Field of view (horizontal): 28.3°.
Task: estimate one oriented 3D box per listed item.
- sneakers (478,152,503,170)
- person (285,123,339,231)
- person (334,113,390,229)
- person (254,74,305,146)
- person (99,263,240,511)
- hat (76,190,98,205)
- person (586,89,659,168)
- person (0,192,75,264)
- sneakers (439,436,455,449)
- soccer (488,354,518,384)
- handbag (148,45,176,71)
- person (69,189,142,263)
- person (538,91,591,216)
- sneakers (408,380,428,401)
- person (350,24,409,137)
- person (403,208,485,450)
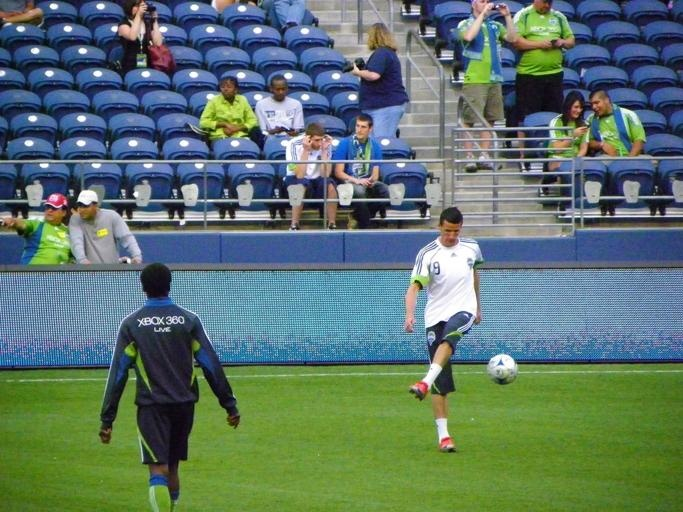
[{"bbox_3d":[2.209,-1.433,20.731,0.193,0.227,0.537,3,4,44],"label":"sneakers"},{"bbox_3d":[-0.460,-1.176,20.187,0.738,1.539,0.789,-4,10,-1],"label":"person"},{"bbox_3d":[0.271,-1.241,20.110,0.813,1.662,0.635,-4,10,0],"label":"person"},{"bbox_3d":[-0.966,-2.238,21.239,0.938,1.133,0.882,9,17,27],"label":"person"},{"bbox_3d":[-1.838,1.445,14.198,1.241,2.664,0.795,-12,12,-37],"label":"person"},{"bbox_3d":[-3.440,-0.782,18.418,0.271,0.182,0.285,-8,10,-25],"label":"hat"},{"bbox_3d":[4.131,-1.891,20.858,0.989,1.301,0.787,-4,11,28],"label":"person"},{"bbox_3d":[-4.202,-0.421,18.980,0.593,0.556,1.013,-16,51,4],"label":"person"},{"bbox_3d":[1.220,2.183,15.626,0.184,0.188,0.106,-4,10,-2],"label":"sneakers"},{"bbox_3d":[1.909,1.328,16.334,0.342,0.339,0.339,19,16,-7],"label":"soccer"},{"bbox_3d":[-2.992,-3.272,22.520,0.417,0.489,0.281,-13,-2,-21],"label":"handbag"},{"bbox_3d":[-3.223,-0.243,18.448,0.905,1.222,0.885,-7,3,-15],"label":"person"},{"bbox_3d":[3.337,-1.585,20.529,0.689,1.749,0.919,3,12,34],"label":"person"},{"bbox_3d":[0.879,1.544,15.420,0.136,0.141,0.288,40,-5,16],"label":"sneakers"},{"bbox_3d":[0.619,-2.429,21.400,0.909,2.395,0.819,-5,9,-28],"label":"person"},{"bbox_3d":[1.191,0.853,15.816,0.837,2.751,1.290,-2,10,13],"label":"person"}]
